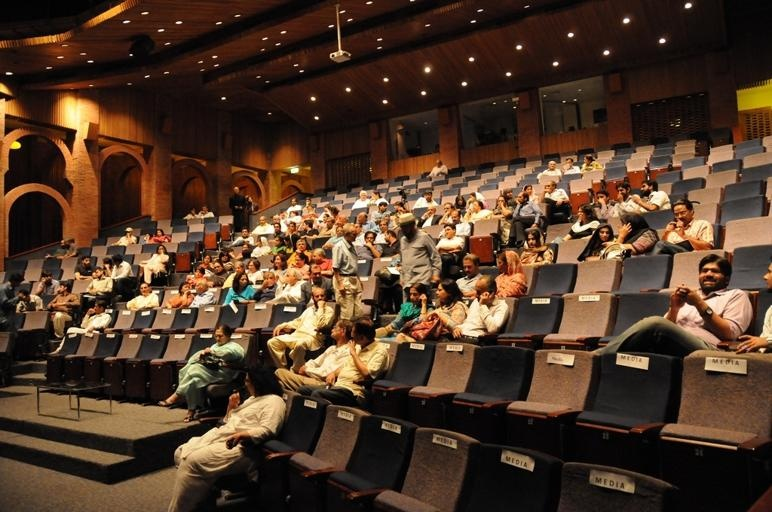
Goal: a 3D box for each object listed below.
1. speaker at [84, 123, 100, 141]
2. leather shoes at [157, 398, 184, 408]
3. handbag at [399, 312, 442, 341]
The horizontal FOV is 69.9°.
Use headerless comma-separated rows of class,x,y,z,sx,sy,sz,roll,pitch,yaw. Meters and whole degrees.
speaker,-8.451,-3.609,15.870,0.198,0.501,0.585,8,0,13
leather shoes,-2.795,1.905,7.136,0.364,0.127,0.123,6,-8,4
handbag,0.391,0.830,6.220,0.414,0.152,0.314,-15,11,25
